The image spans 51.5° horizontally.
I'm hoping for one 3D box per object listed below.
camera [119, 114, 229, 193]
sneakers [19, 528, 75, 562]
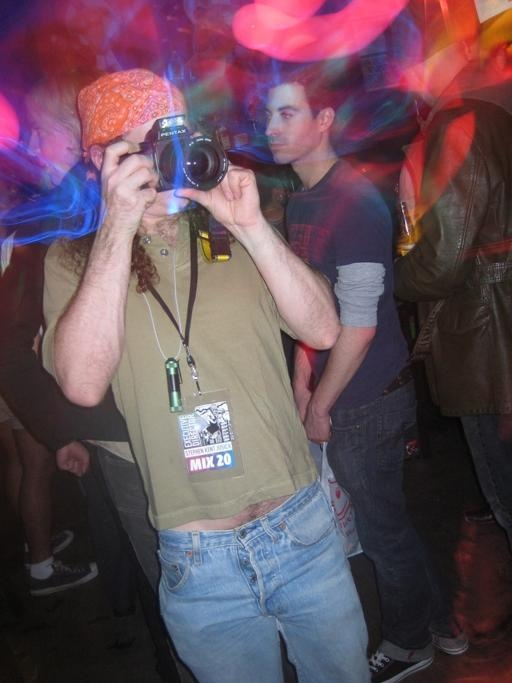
[{"bbox_3d":[-0.139,-0.437,1.306,0.195,0.150,0.167,-3,3,-2],"label":"camera"},{"bbox_3d":[-1.348,1.318,3.527,0.131,0.149,0.382,4,18,25],"label":"sneakers"}]
